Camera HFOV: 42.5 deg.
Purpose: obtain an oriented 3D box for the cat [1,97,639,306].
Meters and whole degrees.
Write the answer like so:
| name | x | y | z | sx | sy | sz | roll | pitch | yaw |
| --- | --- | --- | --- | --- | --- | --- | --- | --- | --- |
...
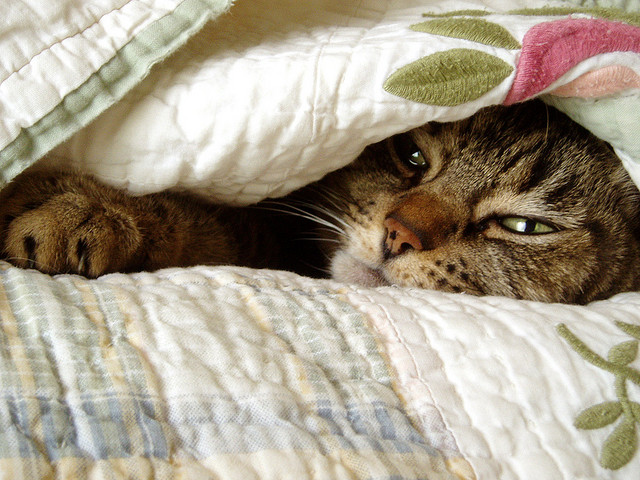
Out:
| name | x | y | z | sx | sy | sz | roll | pitch | yaw |
| --- | --- | --- | --- | --- | --- | --- | --- | --- | --- |
| cat | 0.112 | -0.054 | 1.659 | 0.782 | 0.595 | 0.255 | 1 | 76 | -6 |
